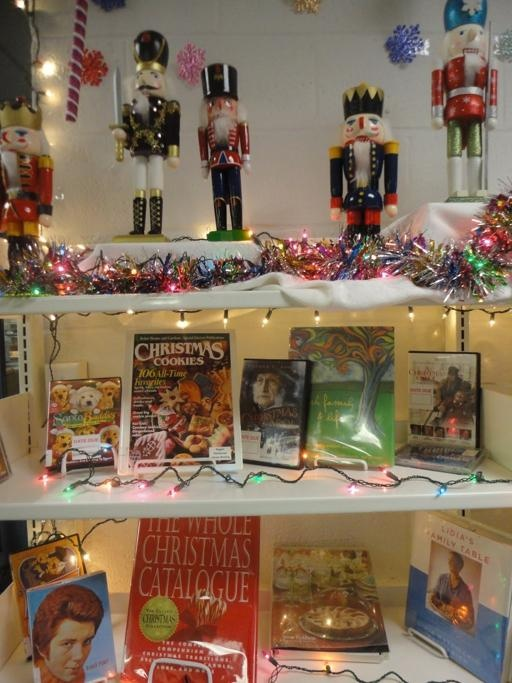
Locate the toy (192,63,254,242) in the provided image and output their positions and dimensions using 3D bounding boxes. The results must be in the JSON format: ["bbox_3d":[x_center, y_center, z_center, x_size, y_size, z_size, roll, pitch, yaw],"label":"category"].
[{"bbox_3d":[-0.070,-0.392,1.145,0.099,0.323,0.073,3,12,29],"label":"toy"}]

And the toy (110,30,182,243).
[{"bbox_3d":[-0.229,-0.425,1.163,0.149,0.402,0.095,2,6,-7],"label":"toy"}]

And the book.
[{"bbox_3d":[0.146,0.534,1.154,0.228,0.146,0.168,-2,10,3],"label":"book"}]

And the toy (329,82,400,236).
[{"bbox_3d":[0.214,-0.356,1.119,0.137,0.285,0.185,3,12,26],"label":"toy"}]
